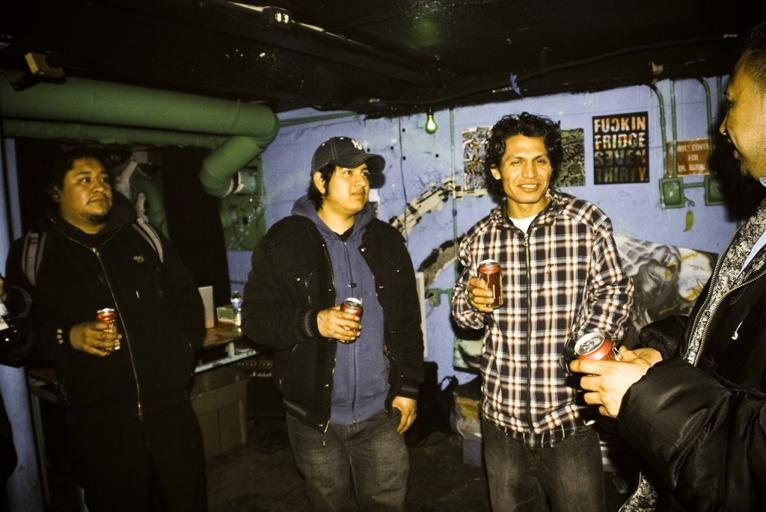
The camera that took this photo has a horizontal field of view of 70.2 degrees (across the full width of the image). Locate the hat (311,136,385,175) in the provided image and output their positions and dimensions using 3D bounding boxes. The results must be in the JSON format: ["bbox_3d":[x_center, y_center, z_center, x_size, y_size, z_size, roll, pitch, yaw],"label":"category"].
[{"bbox_3d":[-0.263,-0.713,3.903,0.449,0.214,0.312,-6,5,23],"label":"hat"}]
